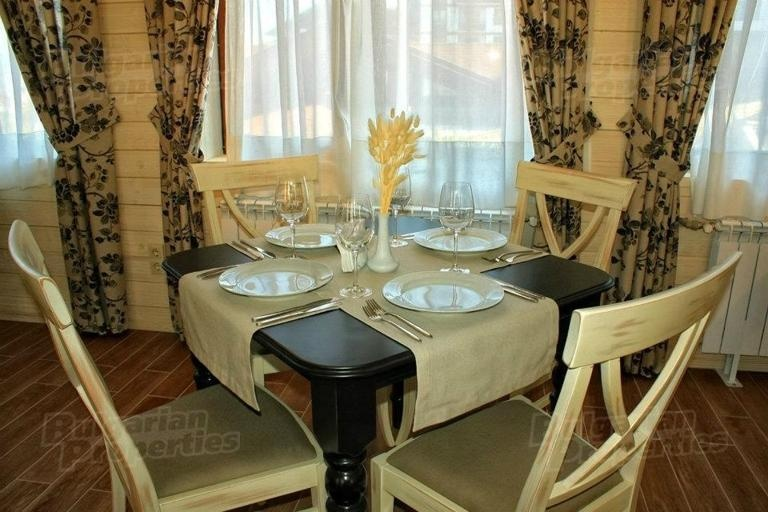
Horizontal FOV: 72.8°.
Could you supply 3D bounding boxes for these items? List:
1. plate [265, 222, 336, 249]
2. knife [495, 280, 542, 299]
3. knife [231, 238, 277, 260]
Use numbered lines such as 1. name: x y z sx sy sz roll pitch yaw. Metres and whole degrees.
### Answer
1. plate: -0.334 -0.083 2.174 0.173 0.018 0.169 -6 22 -19
2. knife: 0.435 0.105 1.753 0.052 0.016 0.220 -9 20 -34
3. knife: -0.501 -0.052 2.043 0.075 0.018 0.282 -12 23 -33
